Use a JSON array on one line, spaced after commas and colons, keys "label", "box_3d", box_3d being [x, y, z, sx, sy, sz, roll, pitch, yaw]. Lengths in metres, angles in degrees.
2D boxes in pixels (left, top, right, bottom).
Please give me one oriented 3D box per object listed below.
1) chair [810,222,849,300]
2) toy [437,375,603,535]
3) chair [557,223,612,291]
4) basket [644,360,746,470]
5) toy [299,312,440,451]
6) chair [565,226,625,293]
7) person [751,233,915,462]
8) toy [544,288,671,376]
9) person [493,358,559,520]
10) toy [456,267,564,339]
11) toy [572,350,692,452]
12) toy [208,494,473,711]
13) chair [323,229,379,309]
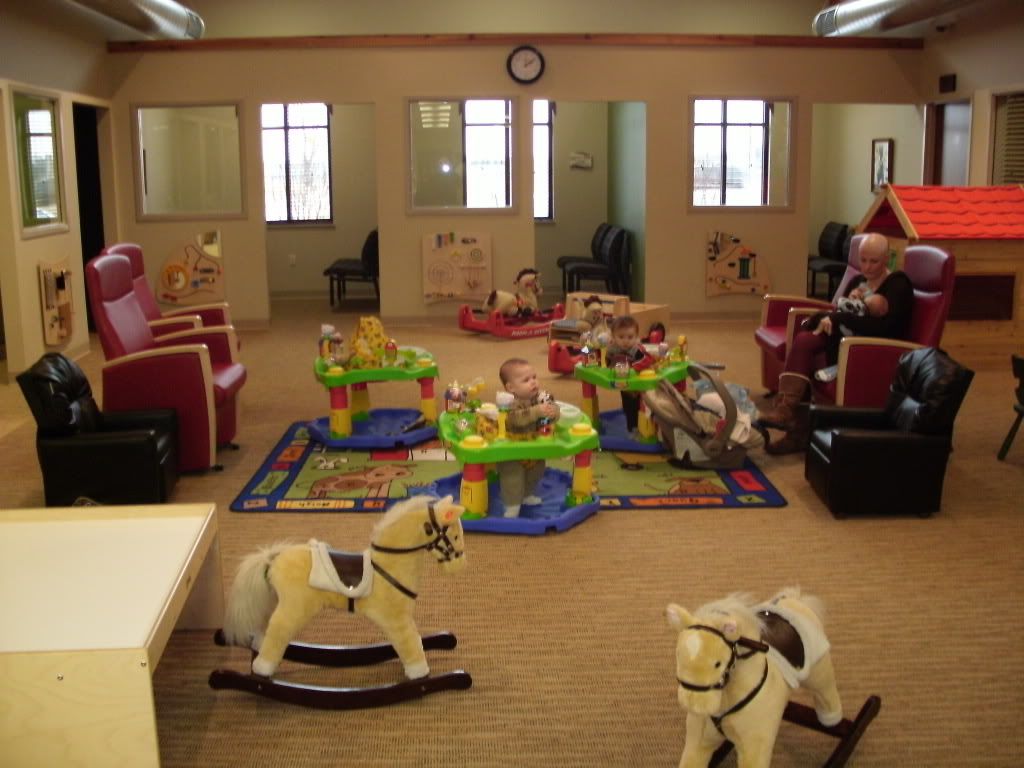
[{"label": "chair", "box_3d": [4.069, -1.582, 11.109, 0.658, 0.920, 0.680, 3, 22, 33]}, {"label": "toy", "box_3d": [-0.007, 0.485, 4.628, 0.942, 0.334, 0.987, 2, 11, 9]}, {"label": "chair", "box_3d": [1.003, -1.543, 11.492, 0.610, 0.862, 0.645, 4, 9, -15]}, {"label": "basket", "box_3d": [1.143, 0.172, 5.303, 0.656, 0.662, 0.525, -3, 11, 2]}, {"label": "toy", "box_3d": [-0.966, -0.048, 5.857, 0.851, 0.814, 0.864, -11, 17, -37]}, {"label": "chair", "box_3d": [1.228, -1.533, 11.015, 0.477, 0.719, 0.861, 11, 5, 14]}, {"label": "person", "box_3d": [2.258, -0.322, 5.890, 0.948, 1.443, 0.576, 9, -2, -10]}, {"label": "toy", "box_3d": [0.876, -0.471, 7.574, 1.077, 0.706, 0.843, -13, 14, -18]}, {"label": "person", "box_3d": [0.080, 0.302, 4.519, 0.329, 0.903, 0.282, -17, 26, -32]}, {"label": "toy", "box_3d": [0.005, -0.897, 9.380, 1.035, 0.745, 0.702, -10, 17, -35]}, {"label": "toy", "box_3d": [0.720, 0.130, 5.742, 0.673, 0.602, 0.691, 11, 4, 28]}, {"label": "toy", "box_3d": [-0.653, 0.882, 3.296, 0.692, 0.574, 0.260, 1, 11, -3]}, {"label": "chair", "box_3d": [-1.994, -1.479, 10.936, 0.759, 0.931, 0.563, 0, 15, -2]}]
